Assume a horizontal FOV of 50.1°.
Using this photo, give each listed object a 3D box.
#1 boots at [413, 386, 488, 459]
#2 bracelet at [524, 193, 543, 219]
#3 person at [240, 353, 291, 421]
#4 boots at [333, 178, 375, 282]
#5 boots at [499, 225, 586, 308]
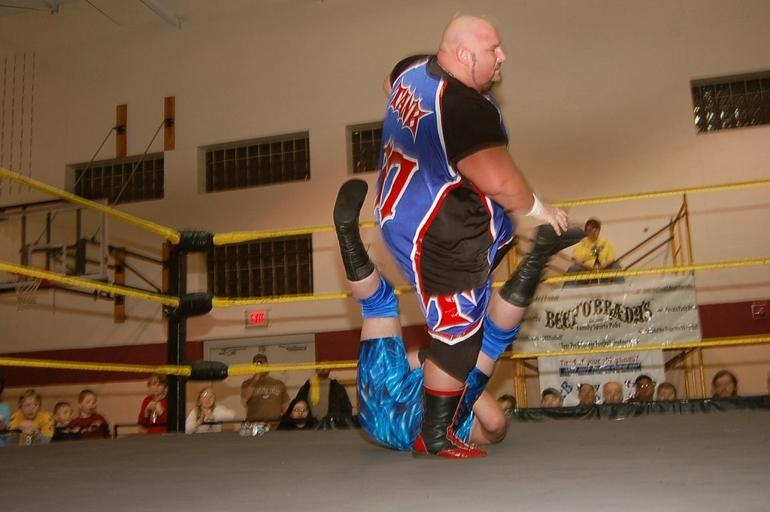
[{"bbox_3d":[0.496,1.238,6.054,0.536,0.539,0.295,6,11,32],"label":"boots"},{"bbox_3d":[1.102,-0.354,6.031,0.157,0.119,0.148,6,10,28],"label":"bracelet"},{"bbox_3d":[-1.660,1.985,11.357,0.625,0.634,1.248,-5,14,-11],"label":"person"},{"bbox_3d":[-0.266,-0.201,6.227,0.264,0.815,0.346,-18,15,-34],"label":"boots"},{"bbox_3d":[1.476,0.121,7.667,0.294,0.888,0.507,35,-12,34],"label":"boots"}]
